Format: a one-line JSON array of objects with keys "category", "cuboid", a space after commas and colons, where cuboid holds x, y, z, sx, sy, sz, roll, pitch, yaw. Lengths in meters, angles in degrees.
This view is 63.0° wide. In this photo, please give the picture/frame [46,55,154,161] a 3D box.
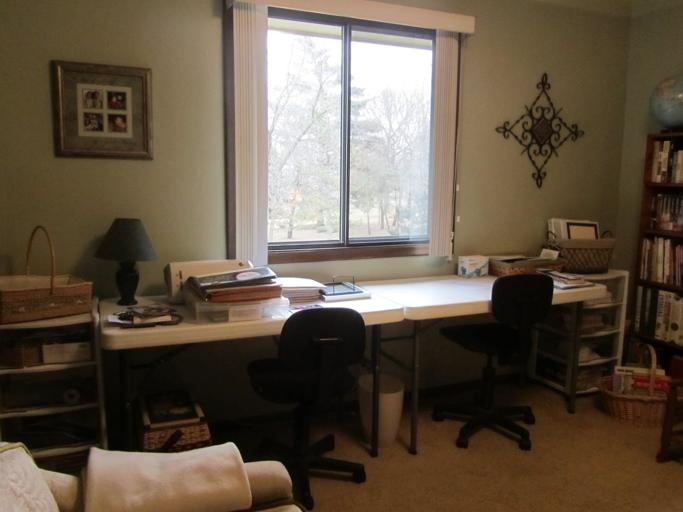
[{"category": "picture/frame", "cuboid": [-1.465, -0.887, 3.309, 0.622, 0.647, 0.049, -1, 6, -21]}]

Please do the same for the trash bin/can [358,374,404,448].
[{"category": "trash bin/can", "cuboid": [0.181, 1.010, 3.751, 0.386, 0.445, 0.401, 0, 2, -9]}]

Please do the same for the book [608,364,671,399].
[{"category": "book", "cuboid": [2.088, 0.890, 3.905, 0.259, 0.108, 0.261, 0, 1, 26]}]

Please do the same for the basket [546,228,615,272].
[{"category": "basket", "cuboid": [1.888, -0.001, 4.302, 0.387, 0.268, 0.265, 0, 2, 2]}]

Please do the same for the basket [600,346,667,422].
[{"category": "basket", "cuboid": [2.067, 0.876, 3.938, 0.417, 0.551, 0.241, 2, 9, 26]}]

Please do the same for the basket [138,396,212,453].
[{"category": "basket", "cuboid": [-0.946, 0.895, 3.131, 0.277, 0.175, 0.279, -1, 8, -19]}]
